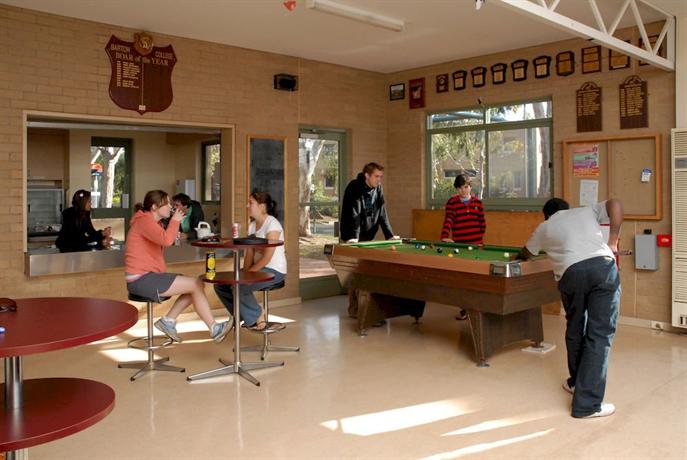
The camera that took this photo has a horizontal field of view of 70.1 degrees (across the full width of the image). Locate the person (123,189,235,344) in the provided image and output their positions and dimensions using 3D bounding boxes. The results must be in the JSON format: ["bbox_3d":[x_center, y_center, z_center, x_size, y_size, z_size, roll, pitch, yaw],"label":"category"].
[{"bbox_3d":[-1.855,0.412,5.168,1.045,1.600,0.506,5,11,30],"label":"person"}]

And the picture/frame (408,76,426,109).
[{"bbox_3d":[1.287,-2.394,8.626,0.344,0.537,0.066,6,11,34],"label":"picture/frame"}]

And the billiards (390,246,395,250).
[{"bbox_3d":[0.628,0.237,6.166,0.054,0.027,0.053,-5,6,-44],"label":"billiards"}]

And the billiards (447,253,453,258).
[{"bbox_3d":[1.194,0.294,5.483,0.044,0.040,0.044,5,5,40],"label":"billiards"}]

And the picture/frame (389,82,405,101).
[{"bbox_3d":[0.988,-2.504,8.857,0.414,0.325,0.046,2,0,43],"label":"picture/frame"}]

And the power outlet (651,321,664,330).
[{"bbox_3d":[4.230,1.302,6.619,0.150,0.099,0.046,5,11,31],"label":"power outlet"}]

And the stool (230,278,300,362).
[{"bbox_3d":[-0.897,1.089,6.043,1.011,1.035,0.837,0,-1,3],"label":"stool"}]

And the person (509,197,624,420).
[{"bbox_3d":[2.248,0.675,4.625,0.716,1.913,0.833,-4,10,-21],"label":"person"}]

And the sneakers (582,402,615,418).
[{"bbox_3d":[2.258,1.623,4.368,0.302,0.106,0.097,-10,7,-22],"label":"sneakers"}]

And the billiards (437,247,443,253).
[{"bbox_3d":[1.152,0.254,5.842,0.052,0.031,0.060,0,9,10],"label":"billiards"}]

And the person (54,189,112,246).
[{"bbox_3d":[-3.454,-0.139,6.549,0.681,0.746,0.718,8,12,41],"label":"person"}]

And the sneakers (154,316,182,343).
[{"bbox_3d":[-1.839,1.063,5.153,0.169,0.313,0.210,6,11,33],"label":"sneakers"}]

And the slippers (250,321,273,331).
[{"bbox_3d":[-0.946,1.123,5.656,0.183,0.069,0.169,1,-6,-11],"label":"slippers"}]
